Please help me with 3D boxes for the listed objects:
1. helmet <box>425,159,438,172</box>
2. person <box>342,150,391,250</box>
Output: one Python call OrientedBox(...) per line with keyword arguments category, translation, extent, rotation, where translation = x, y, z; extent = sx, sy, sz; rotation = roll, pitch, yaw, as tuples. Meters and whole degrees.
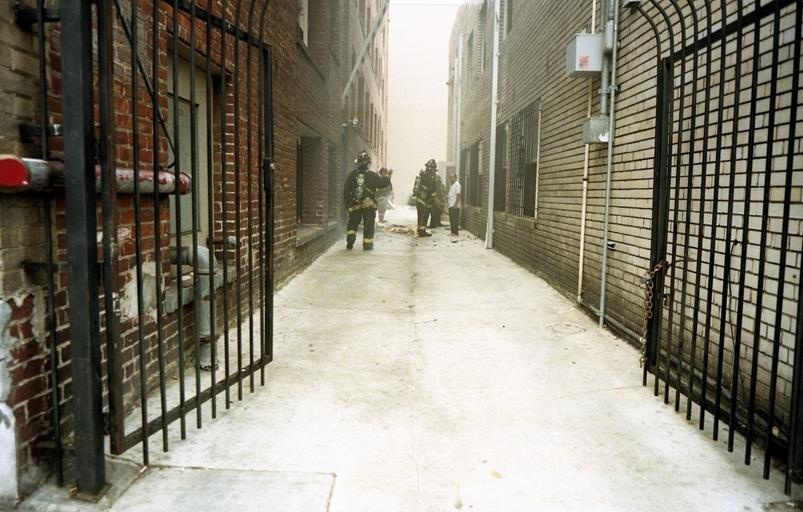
OrientedBox(category="helmet", translation=(0.799, -2.445, 17.920), extent=(0.279, 0.345, 0.315), rotation=(0, -4, -2))
OrientedBox(category="person", translation=(-0.744, -1.219, 14.762), extent=(0.932, 2.159, 0.680), rotation=(3, 0, 0))
